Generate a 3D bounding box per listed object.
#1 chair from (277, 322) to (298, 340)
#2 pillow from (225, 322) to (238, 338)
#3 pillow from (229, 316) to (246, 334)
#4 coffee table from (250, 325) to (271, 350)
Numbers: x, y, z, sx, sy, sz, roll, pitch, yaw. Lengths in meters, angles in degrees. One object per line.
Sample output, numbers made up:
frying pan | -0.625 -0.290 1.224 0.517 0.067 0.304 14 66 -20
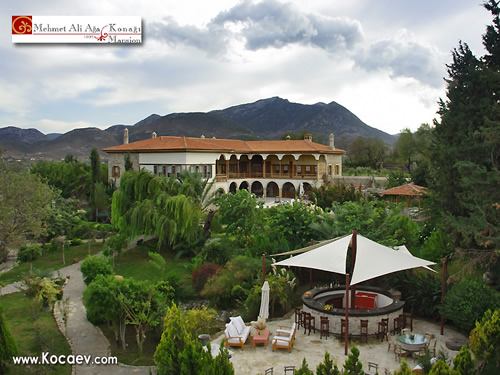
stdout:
chair | 1.758 7.005 21.384 0.783 0.814 0.888 0 -3 8
pillow | -0.861 6.828 21.089 0.634 0.422 0.528 2 1 -3
pillow | -0.656 6.777 21.677 0.197 0.682 0.691 -33 -1 30
coffee table | 0.491 7.164 21.062 0.643 0.484 1.010 1 0 6
